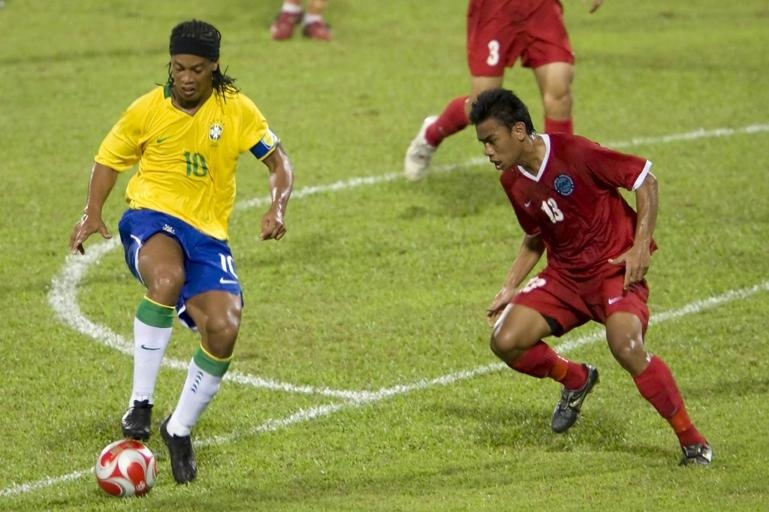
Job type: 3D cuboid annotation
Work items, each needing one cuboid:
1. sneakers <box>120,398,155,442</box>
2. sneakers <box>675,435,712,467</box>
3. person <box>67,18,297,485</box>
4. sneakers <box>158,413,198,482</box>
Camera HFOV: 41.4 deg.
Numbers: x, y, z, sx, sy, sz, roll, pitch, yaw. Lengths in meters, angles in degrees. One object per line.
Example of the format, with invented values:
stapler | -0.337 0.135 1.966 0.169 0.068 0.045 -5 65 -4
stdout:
sneakers | -1.462 0.997 5.974 0.119 0.132 0.300 4 3 -8
sneakers | 1.822 1.156 6.010 0.170 0.177 0.132 -28 5 7
person | -1.198 -0.110 6.166 1.101 2.566 1.014 17 21 35
sneakers | -1.192 1.109 6.000 0.145 0.424 0.183 -11 -19 -42
